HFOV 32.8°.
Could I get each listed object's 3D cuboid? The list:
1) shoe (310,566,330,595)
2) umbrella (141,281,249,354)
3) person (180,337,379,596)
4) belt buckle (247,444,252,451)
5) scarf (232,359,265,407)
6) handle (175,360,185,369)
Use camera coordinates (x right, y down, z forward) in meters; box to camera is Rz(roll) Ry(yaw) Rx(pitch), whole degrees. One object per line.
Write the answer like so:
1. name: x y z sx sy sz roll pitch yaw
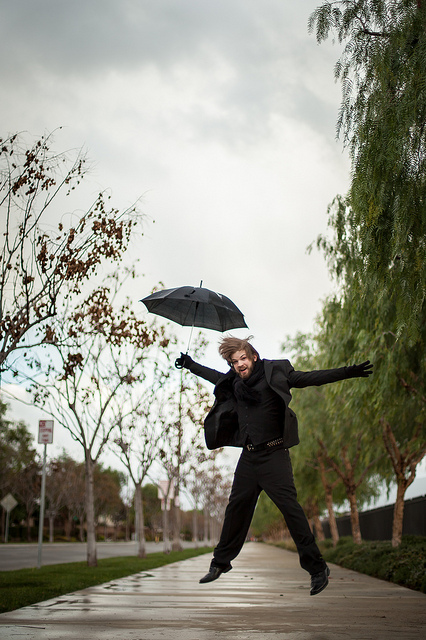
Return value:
1. shoe: 0.762 1.899 5.182 0.117 0.196 0.416 -3 -13 9
2. umbrella: -0.202 -0.055 6.583 0.644 0.650 0.744 5 -34 16
3. person: 0.348 1.051 5.384 1.287 1.869 0.513 -10 -15 39
4. belt buckle: 0.269 0.962 5.361 0.038 0.046 0.013 7 8 39
5. scarf: 0.242 0.474 5.443 0.225 0.340 0.127 -32 -21 27
6. handle: -0.280 0.385 6.040 0.079 0.077 0.201 0 -13 -4
